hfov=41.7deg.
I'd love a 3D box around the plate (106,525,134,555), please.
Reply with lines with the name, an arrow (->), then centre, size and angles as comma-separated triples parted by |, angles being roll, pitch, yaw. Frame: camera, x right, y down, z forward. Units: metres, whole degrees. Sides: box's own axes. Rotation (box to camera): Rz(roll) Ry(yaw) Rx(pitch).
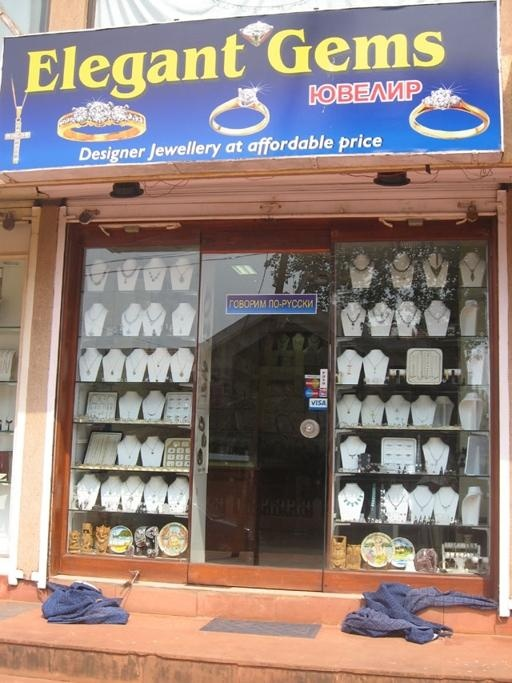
plate -> -0.986, 1.417, 4.796 | 0.178, 0.171, 0.041 | 0, -19, 18

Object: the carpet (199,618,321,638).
carpet -> 0.033, 1.728, 4.065 | 0.676, 0.025, 0.329 | -2, -10, 10

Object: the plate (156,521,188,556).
plate -> -0.567, 1.382, 4.707 | 0.269, 0.230, 0.074 | -7, -13, 31

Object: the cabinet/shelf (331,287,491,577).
cabinet/shelf -> 1.112, 0.606, 4.872 | 1.071, 1.753, 0.658 | 2, 0, 10

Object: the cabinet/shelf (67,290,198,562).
cabinet/shelf -> -0.890, 0.564, 4.965 | 0.751, 2.067, 0.586 | -1, 0, 18

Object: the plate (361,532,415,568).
plate -> 0.875, 1.391, 4.478 | 0.344, 0.223, 0.102 | -3, -12, 13
